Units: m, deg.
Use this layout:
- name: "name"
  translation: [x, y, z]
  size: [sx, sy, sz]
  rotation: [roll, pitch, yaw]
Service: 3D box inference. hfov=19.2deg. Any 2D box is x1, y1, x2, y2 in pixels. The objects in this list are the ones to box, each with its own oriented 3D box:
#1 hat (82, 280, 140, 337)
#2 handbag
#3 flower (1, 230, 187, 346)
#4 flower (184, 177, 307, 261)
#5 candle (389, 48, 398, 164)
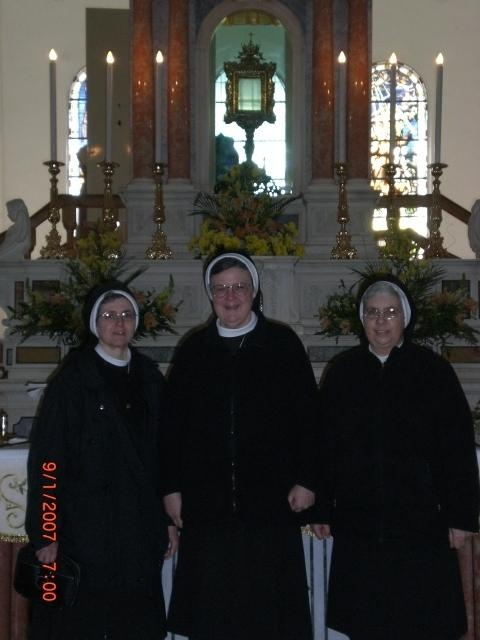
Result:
- name: "hat"
  translation: [-0.703, -0.054, 7.533]
  size: [0.222, 0.321, 0.145]
  rotation: [3, 1, -6]
- name: "handbag"
  translation: [-0.950, 1.300, 7.152]
  size: [0.264, 0.260, 0.107]
  rotation: [16, 6, 10]
- name: "flower"
  translation: [-0.987, -0.188, 9.573]
  size: [1.015, 1.017, 0.798]
  rotation: [1, 9, -9]
- name: "flower"
  translation: [0.031, -0.697, 10.087]
  size: [0.807, 0.898, 0.571]
  rotation: [-2, -25, 1]
- name: "candle"
  translation: [1.100, -1.504, 10.183]
  size: [0.055, 0.816, 0.062]
  rotation: [-2, 5, -21]
